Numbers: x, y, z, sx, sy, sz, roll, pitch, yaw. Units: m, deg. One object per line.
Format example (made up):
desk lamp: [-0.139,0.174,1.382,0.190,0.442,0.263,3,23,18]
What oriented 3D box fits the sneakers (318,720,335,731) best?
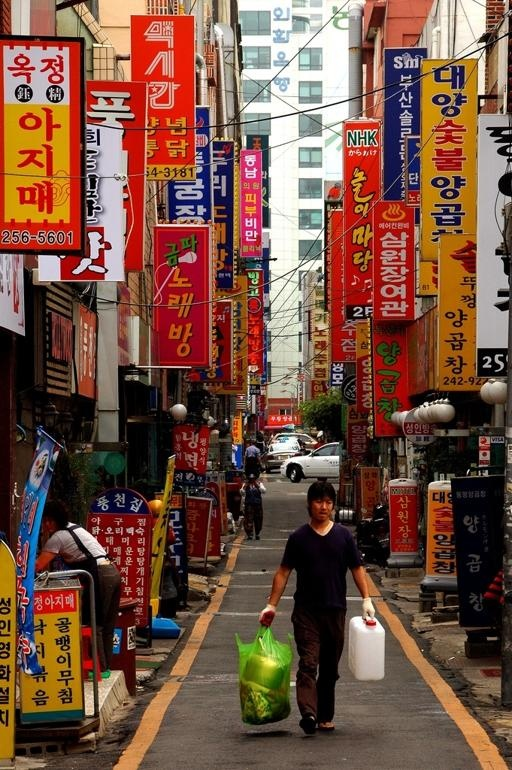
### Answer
sneakers: [0.414,2.068,8.178,0.058,0.042,0.111,3,4,1]

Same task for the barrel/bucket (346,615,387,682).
barrel/bucket: [0.644,1.546,7.998,0.174,0.362,0.318,0,10,-9]

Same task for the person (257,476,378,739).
person: [0.357,1.342,8.007,0.629,1.500,0.461,-1,0,-1]

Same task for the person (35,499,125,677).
person: [-1.301,1.410,9.576,0.669,1.201,0.399,1,14,13]

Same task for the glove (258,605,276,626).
glove: [0.064,1.370,7.980,0.072,0.122,0.160,-1,-1,-6]
